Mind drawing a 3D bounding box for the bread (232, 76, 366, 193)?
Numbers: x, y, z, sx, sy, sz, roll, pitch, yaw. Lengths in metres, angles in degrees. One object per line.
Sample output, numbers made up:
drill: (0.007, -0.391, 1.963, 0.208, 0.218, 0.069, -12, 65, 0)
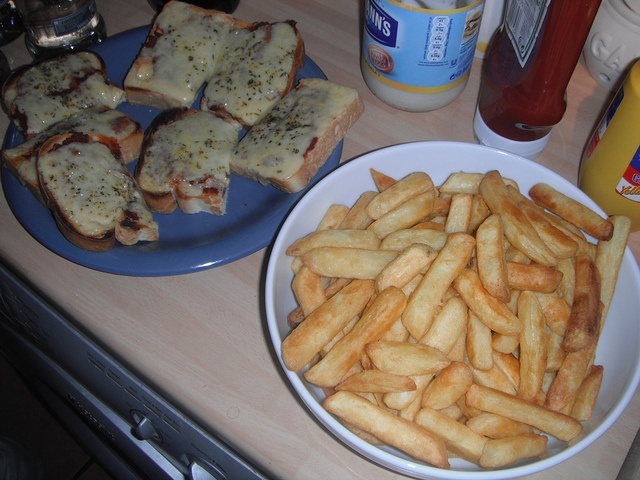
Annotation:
bread: (-0.046, -0.274, 1.437, 0.248, 0.083, 0.344, 26, 70, 35)

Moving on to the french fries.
french fries: (0.240, 0.141, 1.202, 0.558, 0.275, 0.611, -36, 75, -8)

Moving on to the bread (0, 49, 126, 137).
bread: (-0.707, -0.393, 1.542, 0.268, 0.082, 0.218, -28, 78, -21)

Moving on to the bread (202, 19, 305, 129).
bread: (-0.162, -0.445, 1.596, 0.237, 0.088, 0.333, 37, 90, 25)

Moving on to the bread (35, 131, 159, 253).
bread: (-0.554, -0.113, 1.346, 0.206, 0.091, 0.340, -27, 65, -16)

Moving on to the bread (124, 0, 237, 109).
bread: (-0.413, -0.513, 1.571, 0.219, 0.087, 0.328, 24, 77, 2)
